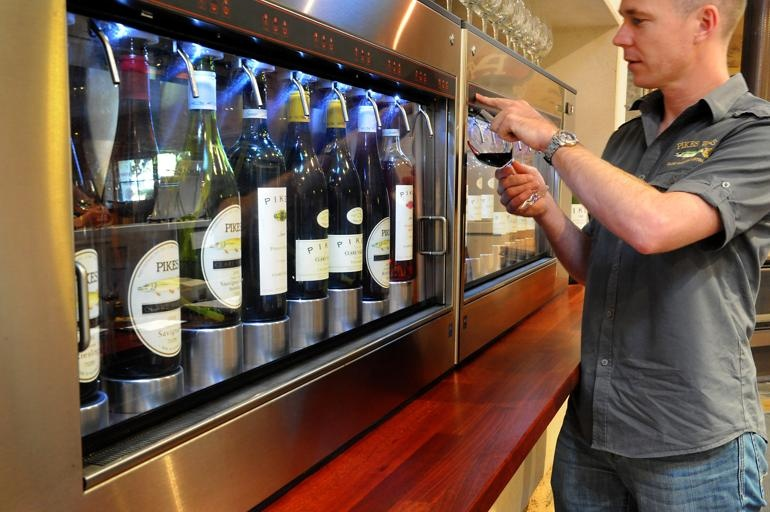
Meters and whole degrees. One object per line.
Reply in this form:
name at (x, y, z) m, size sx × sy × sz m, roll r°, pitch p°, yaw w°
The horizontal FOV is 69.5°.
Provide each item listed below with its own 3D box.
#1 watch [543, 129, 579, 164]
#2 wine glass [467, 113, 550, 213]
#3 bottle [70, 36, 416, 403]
watch at (0.356, -0.223, 1.131) m, size 0.065 × 0.042 × 0.065 m, roll -27°, pitch -30°, yaw -22°
wine glass at (0.293, -0.263, 1.411) m, size 0.163 × 0.277 × 0.094 m, roll 17°, pitch -30°, yaw -35°
bottle at (-0.269, -0.061, 0.853) m, size 0.114 × 0.497 × 0.435 m, roll 7°, pitch 11°, yaw 38°
